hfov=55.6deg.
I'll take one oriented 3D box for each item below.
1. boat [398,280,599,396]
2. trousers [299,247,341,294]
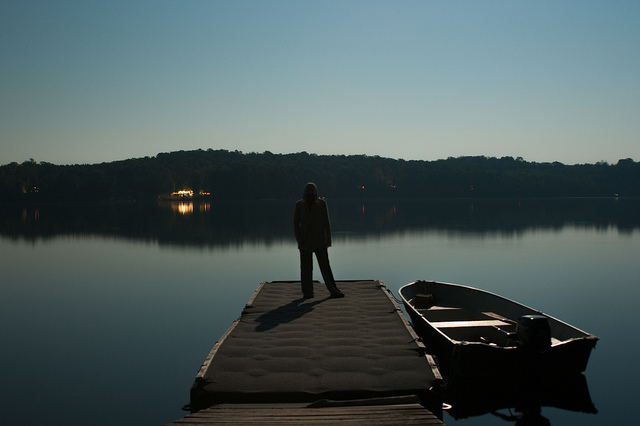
[{"bbox_3d":[5.112,3.391,19.787,4.284,2.237,6.435,0,12,-13],"label":"boat"},{"bbox_3d":[-0.045,2.181,22.221,1.356,0.584,2.977,-14,-31,4],"label":"trousers"}]
